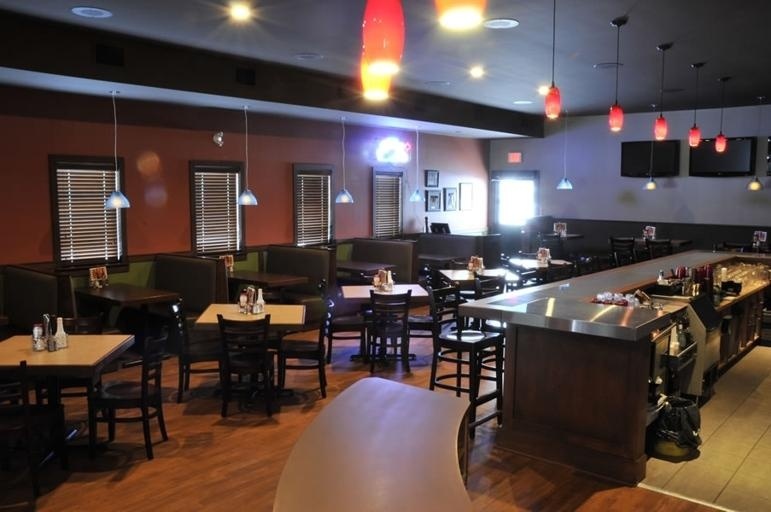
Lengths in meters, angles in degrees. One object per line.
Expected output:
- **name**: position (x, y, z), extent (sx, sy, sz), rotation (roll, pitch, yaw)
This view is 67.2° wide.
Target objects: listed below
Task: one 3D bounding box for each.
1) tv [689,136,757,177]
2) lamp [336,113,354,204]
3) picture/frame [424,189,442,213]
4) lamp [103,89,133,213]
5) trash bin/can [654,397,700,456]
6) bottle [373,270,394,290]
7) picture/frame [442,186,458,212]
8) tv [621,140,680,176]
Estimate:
- **tv**: position (7.336, -2.163, 12.458), extent (0.973, 0.671, 0.133), rotation (1, 5, 31)
- **lamp**: position (-0.856, -1.884, 11.677), extent (0.385, 1.653, 0.418), rotation (6, 11, 26)
- **picture/frame**: position (1.118, -1.368, 14.059), extent (0.048, 0.516, 0.617), rotation (-5, -2, 37)
- **lamp**: position (-4.070, -1.525, 8.575), extent (0.350, 1.755, 0.918), rotation (-7, 15, -24)
- **trash bin/can**: position (3.028, 1.733, 5.971), extent (0.370, 0.422, 0.446), rotation (1, 2, -38)
- **bottle**: position (-0.017, 0.330, 8.365), extent (0.281, 0.298, 0.282), rotation (2, 11, 10)
- **picture/frame**: position (1.591, -1.448, 14.543), extent (0.070, 0.666, 0.686), rotation (-3, -3, 37)
- **tv**: position (6.208, -2.283, 13.526), extent (1.277, 0.846, 0.118), rotation (0, 6, 11)
